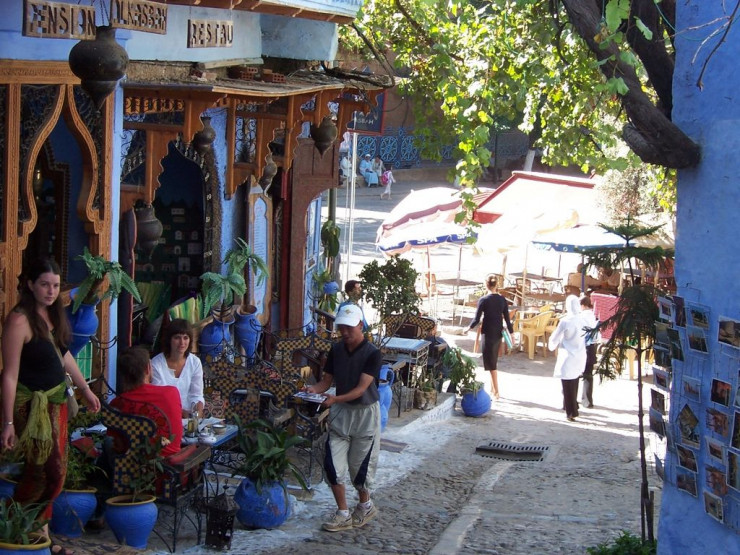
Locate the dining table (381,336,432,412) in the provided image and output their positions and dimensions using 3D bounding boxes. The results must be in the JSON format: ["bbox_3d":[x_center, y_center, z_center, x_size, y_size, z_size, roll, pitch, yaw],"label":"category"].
[{"bbox_3d":[0.559,1.578,12.156,0.903,1.228,0.979,3,19,2],"label":"dining table"}]

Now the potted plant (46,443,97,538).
[{"bbox_3d":[-2.462,1.771,6.432,0.369,0.685,0.356,14,-13,-40],"label":"potted plant"}]

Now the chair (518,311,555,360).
[{"bbox_3d":[3.687,1.265,17.495,0.710,1.003,0.704,5,-4,-3],"label":"chair"}]

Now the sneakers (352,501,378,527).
[{"bbox_3d":[-0.056,2.306,7.552,0.119,0.159,0.318,-4,9,25],"label":"sneakers"}]

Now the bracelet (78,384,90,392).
[{"bbox_3d":[-2.226,0.866,6.013,0.054,0.059,0.056,-2,4,0],"label":"bracelet"}]

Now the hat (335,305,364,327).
[{"bbox_3d":[-0.196,0.364,7.440,0.241,0.167,0.323,8,3,5],"label":"hat"}]

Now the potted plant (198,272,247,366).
[{"bbox_3d":[-1.971,0.609,10.847,0.710,1.386,0.816,-8,3,-42],"label":"potted plant"}]

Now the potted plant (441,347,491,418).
[{"bbox_3d":[1.589,1.772,12.899,0.870,0.990,0.452,7,3,4],"label":"potted plant"}]

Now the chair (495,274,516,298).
[{"bbox_3d":[3.273,0.215,18.800,0.658,0.692,0.527,1,5,15],"label":"chair"}]

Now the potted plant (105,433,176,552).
[{"bbox_3d":[-1.914,1.777,6.315,0.439,0.931,0.395,6,3,-10],"label":"potted plant"}]

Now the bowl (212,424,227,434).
[{"bbox_3d":[-1.408,1.404,7.200,0.102,0.058,0.245,8,3,2],"label":"bowl"}]

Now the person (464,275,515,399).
[{"bbox_3d":[2.195,1.030,13.987,0.761,2.319,0.642,-4,16,-5],"label":"person"}]

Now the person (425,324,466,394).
[{"bbox_3d":[1.125,1.325,13.326,0.805,1.389,0.796,-1,18,-3],"label":"person"}]

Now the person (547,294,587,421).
[{"bbox_3d":[3.361,1.364,13.187,0.644,2.016,0.962,7,3,15],"label":"person"}]

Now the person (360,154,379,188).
[{"bbox_3d":[-0.100,-5.605,40.655,0.993,1.369,0.798,5,3,-32],"label":"person"}]

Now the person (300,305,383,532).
[{"bbox_3d":[-0.194,1.334,7.433,0.685,1.700,0.493,6,3,1],"label":"person"}]

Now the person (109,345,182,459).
[{"bbox_3d":[-1.954,1.115,6.630,0.600,0.983,0.547,-7,5,5],"label":"person"}]

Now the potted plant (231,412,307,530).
[{"bbox_3d":[-0.864,1.828,7.438,0.813,1.149,0.779,-1,-2,15],"label":"potted plant"}]

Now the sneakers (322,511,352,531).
[{"bbox_3d":[-0.314,2.315,7.380,0.297,0.161,0.133,0,-1,-32],"label":"sneakers"}]
